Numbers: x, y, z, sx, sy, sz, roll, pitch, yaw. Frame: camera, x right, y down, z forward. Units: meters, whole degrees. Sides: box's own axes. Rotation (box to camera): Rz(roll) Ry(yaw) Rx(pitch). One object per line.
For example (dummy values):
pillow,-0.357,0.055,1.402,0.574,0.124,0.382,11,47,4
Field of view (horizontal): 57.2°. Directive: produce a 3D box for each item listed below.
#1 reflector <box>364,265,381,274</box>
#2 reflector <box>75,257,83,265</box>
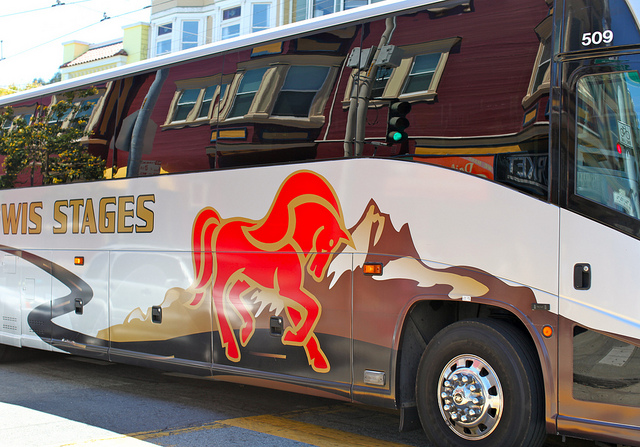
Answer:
reflector,0.576,0.508,6.561,0.201,0.101,0.015,-1,-3,35
reflector,-3.773,0.581,9.259,0.114,0.117,0.030,5,4,29
